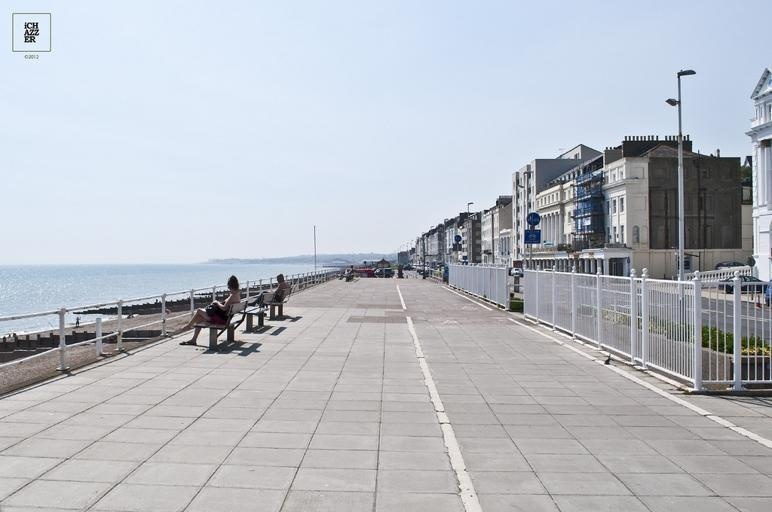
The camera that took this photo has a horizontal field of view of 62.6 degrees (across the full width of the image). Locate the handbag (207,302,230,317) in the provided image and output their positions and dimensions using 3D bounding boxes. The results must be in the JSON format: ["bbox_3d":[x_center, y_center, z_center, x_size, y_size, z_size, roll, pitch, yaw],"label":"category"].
[{"bbox_3d":[-4.284,1.388,16.450,0.359,0.202,0.481,5,-2,8],"label":"handbag"}]
